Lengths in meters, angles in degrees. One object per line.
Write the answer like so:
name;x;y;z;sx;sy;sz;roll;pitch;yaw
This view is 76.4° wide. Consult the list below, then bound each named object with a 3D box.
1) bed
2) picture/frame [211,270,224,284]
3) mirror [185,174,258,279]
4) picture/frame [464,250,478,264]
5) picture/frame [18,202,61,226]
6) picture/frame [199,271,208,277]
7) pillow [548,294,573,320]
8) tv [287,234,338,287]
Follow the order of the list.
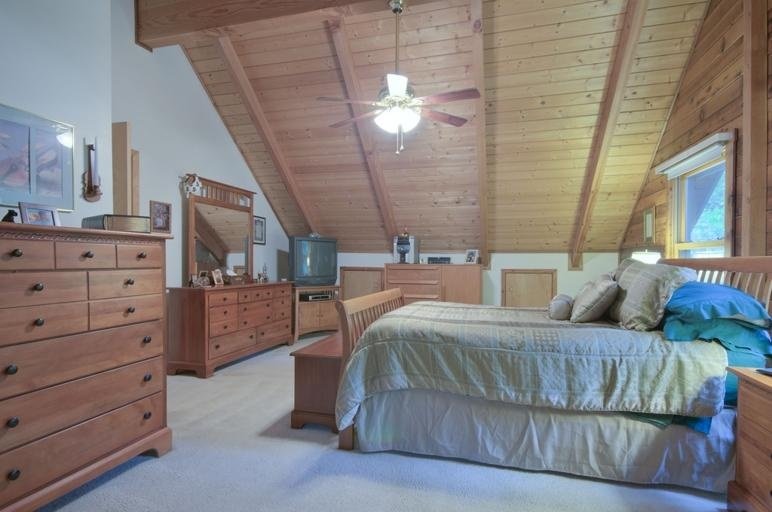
bed;1.129;0.727;4.094;2.920;1.387;1.818;4;3;21
picture/frame;-2.047;0.252;5.911;0.025;0.208;0.161;-25;-9;34
mirror;-2.113;-0.369;6.170;0.166;1.481;1.499;1;-2;22
picture/frame;1.257;0.002;7.182;0.226;0.232;0.018;9;-27;19
picture/frame;-2.511;-0.301;3.522;0.018;0.234;0.252;-9;-5;33
picture/frame;-2.197;0.200;5.880;0.055;0.091;0.075;-1;-8;10
pillow;1.606;0.454;4.466;0.215;0.202;0.256;-5;1;23
tv;-1.087;0.068;7.210;0.423;0.722;0.844;-4;-4;44
